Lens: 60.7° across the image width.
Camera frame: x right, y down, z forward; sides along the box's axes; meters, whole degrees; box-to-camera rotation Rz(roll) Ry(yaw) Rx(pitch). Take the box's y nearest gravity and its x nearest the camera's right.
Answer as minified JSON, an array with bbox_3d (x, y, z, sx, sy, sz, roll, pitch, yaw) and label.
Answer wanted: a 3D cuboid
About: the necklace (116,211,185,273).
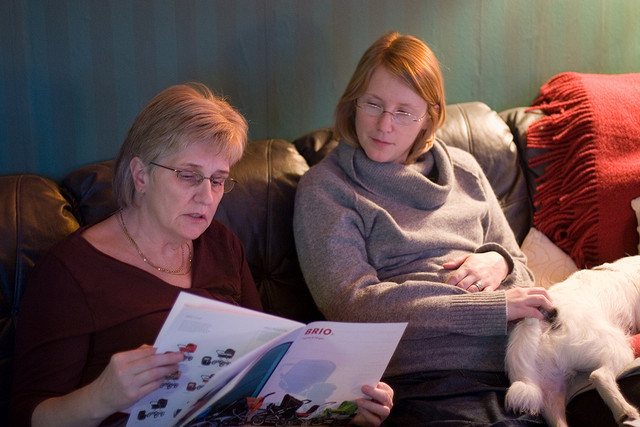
[{"bbox_3d":[-0.539,0.095,1.755,0.196,0.200,0.107,-8,11,-20],"label":"necklace"}]

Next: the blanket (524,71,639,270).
[{"bbox_3d":[1.183,-0.169,2.385,0.632,0.755,0.277,10,3,36],"label":"blanket"}]

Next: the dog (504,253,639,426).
[{"bbox_3d":[0.867,0.417,1.862,0.384,0.382,0.605,2,12,30],"label":"dog"}]

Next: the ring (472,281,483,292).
[{"bbox_3d":[0.556,0.258,1.938,0.007,0.027,0.027,-31,22,-13],"label":"ring"}]

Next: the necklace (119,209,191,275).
[{"bbox_3d":[-0.548,0.118,1.843,0.019,0.238,0.171,-35,-10,26],"label":"necklace"}]
